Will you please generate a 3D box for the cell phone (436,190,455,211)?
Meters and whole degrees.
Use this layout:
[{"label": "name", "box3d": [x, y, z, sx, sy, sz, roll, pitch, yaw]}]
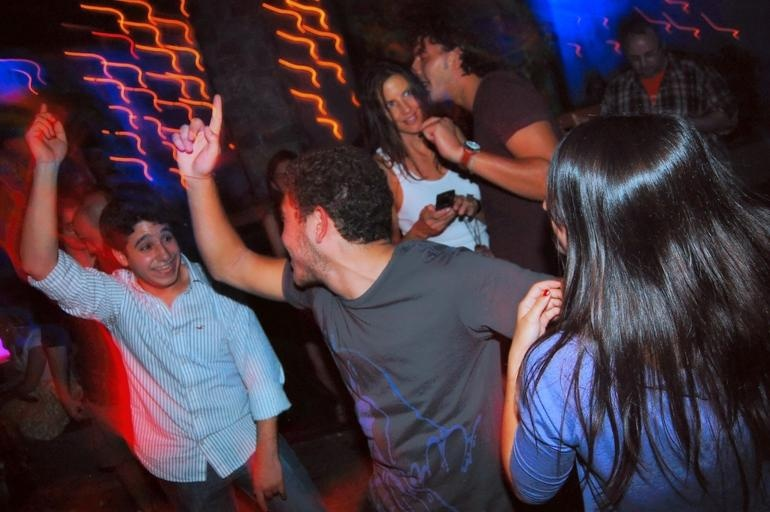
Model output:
[{"label": "cell phone", "box3d": [0.360, -0.325, 3.149, 0.135, 0.098, 0.085, -9, 7, -7]}]
